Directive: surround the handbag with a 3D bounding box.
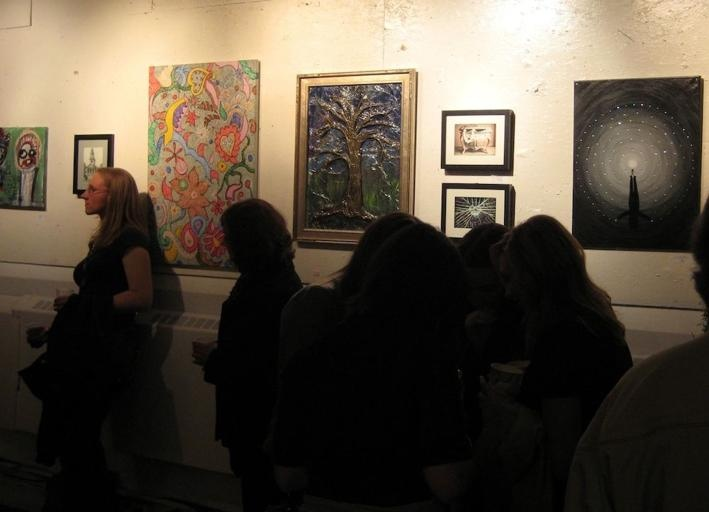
[{"bbox_3d":[-1.727,0.734,3.535,0.472,0.212,0.362,-5,-2,5],"label":"handbag"}]

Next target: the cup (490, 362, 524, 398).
[{"bbox_3d":[0.624,0.508,2.338,0.133,0.135,0.114,7,-19,17],"label":"cup"}]

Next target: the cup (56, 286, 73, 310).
[{"bbox_3d":[-1.802,0.267,3.563,0.084,0.112,0.107,14,-11,3],"label":"cup"}]
